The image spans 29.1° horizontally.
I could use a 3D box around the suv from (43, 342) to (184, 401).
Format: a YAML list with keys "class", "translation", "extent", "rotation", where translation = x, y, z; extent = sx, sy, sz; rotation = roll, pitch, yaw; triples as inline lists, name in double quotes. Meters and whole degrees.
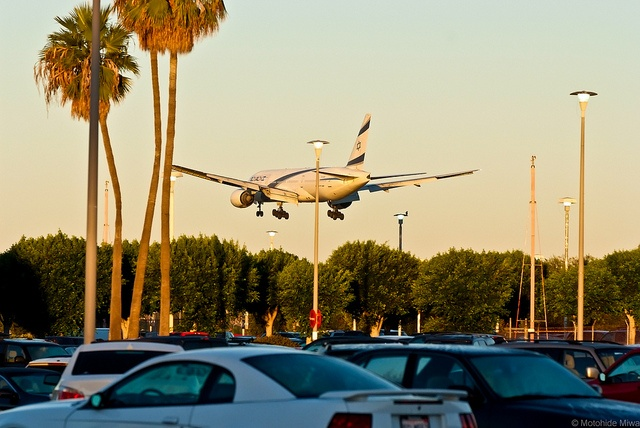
- class: "suv"
  translation: [-5.950, 4.236, 34.373]
  extent: [1.586, 1.171, 3.497]
  rotation: [0, 2, 20]

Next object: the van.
- class: "van"
  translation: [7.508, 4.805, 36.592]
  extent: [2.934, 1.399, 1.901]
  rotation: [-4, -4, 17]
